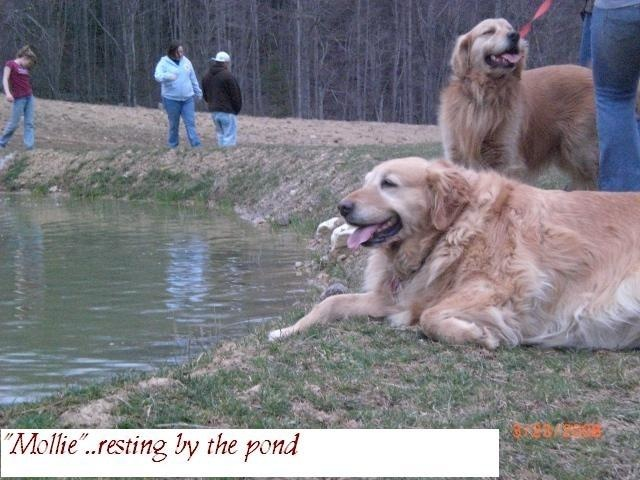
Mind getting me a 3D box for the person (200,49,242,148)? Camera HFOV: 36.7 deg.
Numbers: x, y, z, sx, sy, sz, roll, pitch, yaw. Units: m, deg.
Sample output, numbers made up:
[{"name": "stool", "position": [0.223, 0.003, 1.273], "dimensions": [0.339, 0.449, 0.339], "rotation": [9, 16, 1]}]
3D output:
[{"name": "person", "position": [-1.993, -2.814, 19.661], "dimensions": [0.736, 1.982, 1.053], "rotation": [-3, 15, -8]}]
